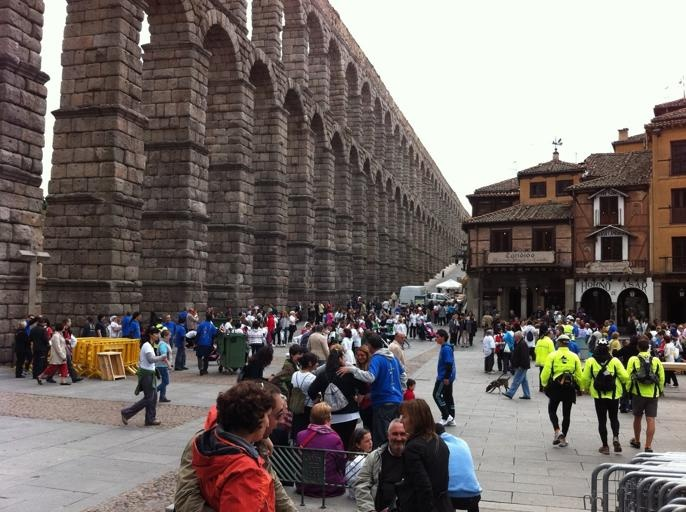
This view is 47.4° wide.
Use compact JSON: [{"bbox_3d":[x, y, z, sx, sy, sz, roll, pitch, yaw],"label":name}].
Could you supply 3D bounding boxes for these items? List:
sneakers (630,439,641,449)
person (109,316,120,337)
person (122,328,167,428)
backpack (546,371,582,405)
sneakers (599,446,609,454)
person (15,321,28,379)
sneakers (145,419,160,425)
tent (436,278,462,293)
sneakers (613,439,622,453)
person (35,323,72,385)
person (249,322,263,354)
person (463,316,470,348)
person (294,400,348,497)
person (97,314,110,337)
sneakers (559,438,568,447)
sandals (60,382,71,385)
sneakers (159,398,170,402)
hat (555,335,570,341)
[{"bbox_3d":[6.591,4.230,17.682,0.116,0.122,0.287,-3,2,3],"label":"sneakers"},{"bbox_3d":[-7.680,2.353,26.336,0.408,0.693,0.535,5,-8,-19],"label":"person"},{"bbox_3d":[-4.479,2.761,17.950,1.101,2.250,1.168,-9,-11,38],"label":"person"},{"bbox_3d":[4.918,2.934,17.520,0.713,0.672,0.418,0,-8,14],"label":"backpack"},{"bbox_3d":[5.717,4.220,17.059,0.294,0.173,0.205,3,-8,-12],"label":"sneakers"},{"bbox_3d":[-9.426,2.733,22.928,0.365,1.621,0.542,5,-8,-22],"label":"person"},{"bbox_3d":[-4.345,3.787,17.839,0.333,0.219,0.112,-3,6,-39],"label":"sneakers"},{"bbox_3d":[9.130,2.603,67.896,2.097,0.834,2.043,-2,-4,23],"label":"tent"},{"bbox_3d":[5.949,4.145,17.010,0.128,0.160,0.350,-9,-51,14],"label":"sneakers"},{"bbox_3d":[-8.081,2.758,22.088,0.847,1.696,1.439,5,-8,-18],"label":"person"},{"bbox_3d":[-3.000,2.745,26.896,0.527,1.156,1.695,3,-7,-7],"label":"person"},{"bbox_3d":[6.257,3.790,39.547,0.372,1.524,0.949,1,-8,9],"label":"person"},{"bbox_3d":[-0.416,3.616,14.592,0.938,1.729,0.624,2,-8,-2],"label":"person"},{"bbox_3d":[-8.020,2.290,26.121,0.426,0.779,1.608,4,-8,-16],"label":"person"},{"bbox_3d":[4.890,4.121,17.355,0.146,0.199,0.333,-4,-9,39],"label":"sneakers"},{"bbox_3d":[-7.770,3.550,21.874,0.278,0.077,0.095,2,-2,-3],"label":"sandals"},{"bbox_3d":[-4.580,3.694,20.079,0.288,0.117,0.089,1,0,-7],"label":"sneakers"},{"bbox_3d":[5.083,1.878,18.018,0.220,0.096,0.156,9,-9,-34],"label":"hat"}]
